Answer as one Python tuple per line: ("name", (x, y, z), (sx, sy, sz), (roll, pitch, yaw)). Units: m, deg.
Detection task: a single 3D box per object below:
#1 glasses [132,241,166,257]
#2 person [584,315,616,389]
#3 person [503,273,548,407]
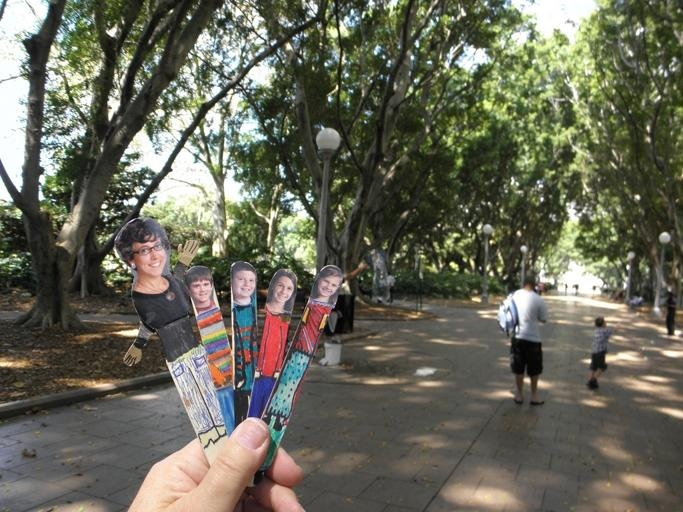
("glasses", (-1.212, -0.040, 3.338), (0.199, 0.103, 0.043), (2, 1, 2))
("person", (5.636, 2.035, 11.580), (0.441, 1.511, 1.998), (2, 0, 25))
("person", (3.399, 1.532, 9.720), (0.646, 2.216, 0.470), (2, 1, 17))
